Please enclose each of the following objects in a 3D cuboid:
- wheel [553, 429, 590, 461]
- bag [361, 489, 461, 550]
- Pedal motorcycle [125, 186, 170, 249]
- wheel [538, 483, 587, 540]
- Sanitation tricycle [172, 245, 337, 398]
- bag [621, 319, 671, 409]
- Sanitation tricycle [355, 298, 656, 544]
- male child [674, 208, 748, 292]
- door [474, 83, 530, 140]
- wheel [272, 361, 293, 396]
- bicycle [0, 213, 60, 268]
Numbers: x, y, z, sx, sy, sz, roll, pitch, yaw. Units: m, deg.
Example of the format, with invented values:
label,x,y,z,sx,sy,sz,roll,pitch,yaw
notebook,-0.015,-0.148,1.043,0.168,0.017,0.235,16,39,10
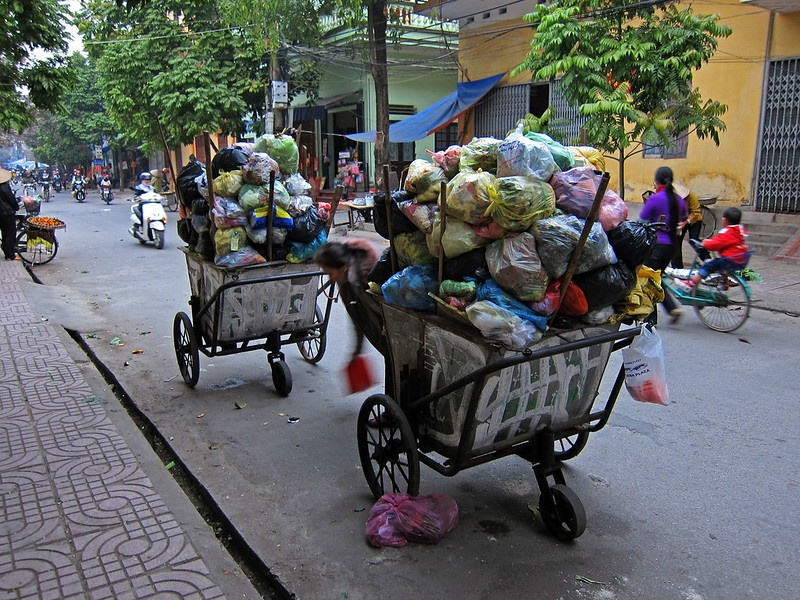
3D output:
label,x,y,z,sx,sy,sz,roll,pitch,yaw
wheel,1.194,1.003,4.487,0.255,0.061,0.263,-43,20,21
bag,0.058,1.355,4.020,0.425,0.167,0.315,-3,12,-7
Pedal motorcycle,-5.306,-1.678,13.681,0.592,1.061,1.680,-5,11,-32
wheel,1.004,1.316,4.024,0.099,0.359,0.335,-12,29,-33
Sanitation tricycle,-1.452,0.091,6.112,1.126,1.085,1.579,-3,22,-32
bag,1.553,0.401,4.112,0.228,0.523,0.338,-7,6,-12
Sanitation tricycle,0.610,0.693,4.312,1.881,1.404,1.931,1,12,18
male child,3.696,-0.581,7.689,0.631,1.064,0.752,0,6,-16
door,2.591,-4.773,16.230,1.560,1.193,0.077,-12,26,-27
wheel,-1.074,0.711,5.879,0.083,0.285,0.251,-9,-4,-34
bicycle,-6.538,-1.100,11.776,1.201,0.818,0.733,8,11,4
